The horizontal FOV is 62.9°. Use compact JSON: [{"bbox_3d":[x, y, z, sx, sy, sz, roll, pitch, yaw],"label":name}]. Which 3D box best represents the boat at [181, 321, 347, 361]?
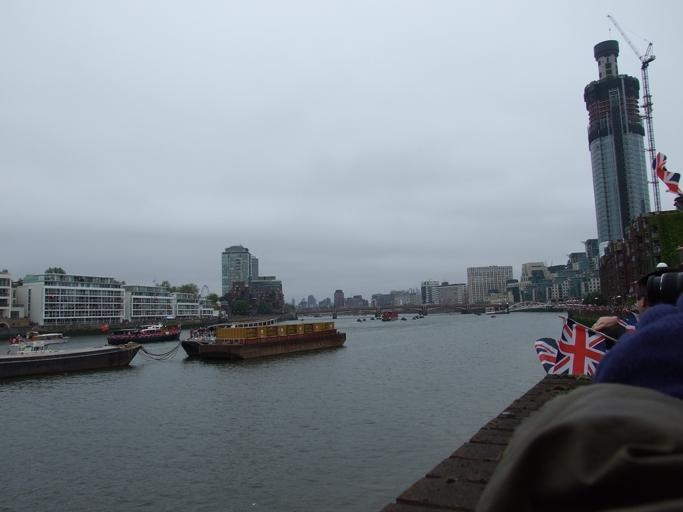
[{"bbox_3d":[-7.961,8.985,60.758,9.331,4.041,23.060,-6,-5,23],"label":"boat"}]

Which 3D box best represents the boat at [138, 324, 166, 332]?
[{"bbox_3d":[-29.737,11.218,87.224,3.685,0.933,3.679,0,-4,-16],"label":"boat"}]
